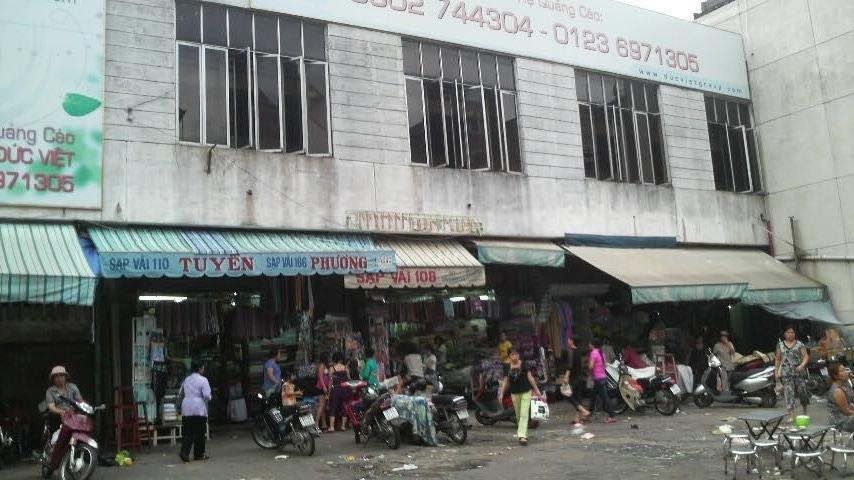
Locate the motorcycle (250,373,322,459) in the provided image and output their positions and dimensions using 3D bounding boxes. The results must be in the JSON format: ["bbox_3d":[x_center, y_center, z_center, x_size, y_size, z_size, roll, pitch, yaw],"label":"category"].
[{"bbox_3d":[-3.693,4.613,22.858,1.059,1.892,1.838,-1,-10,-36],"label":"motorcycle"}]

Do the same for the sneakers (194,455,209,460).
[{"bbox_3d":[-5.634,5.422,22.096,0.380,0.112,0.254,-2,-9,-30],"label":"sneakers"}]

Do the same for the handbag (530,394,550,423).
[{"bbox_3d":[2.982,4.381,23.247,0.308,0.623,0.695,-14,-11,38],"label":"handbag"}]

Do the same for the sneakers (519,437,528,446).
[{"bbox_3d":[2.467,5.156,22.751,0.204,0.172,0.406,-1,-5,8],"label":"sneakers"}]

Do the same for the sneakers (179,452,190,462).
[{"bbox_3d":[-6.035,5.383,21.949,0.177,0.247,0.263,5,-16,-21],"label":"sneakers"}]

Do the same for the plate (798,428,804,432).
[{"bbox_3d":[8.514,4.279,20.057,0.208,0.059,0.112,2,-12,-45],"label":"plate"}]

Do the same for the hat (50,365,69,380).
[{"bbox_3d":[-8.982,3.171,21.467,0.553,0.256,0.727,4,-14,-34],"label":"hat"}]

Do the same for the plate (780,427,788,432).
[{"bbox_3d":[8.165,4.305,20.220,0.124,0.084,0.272,-6,-8,-6],"label":"plate"}]
